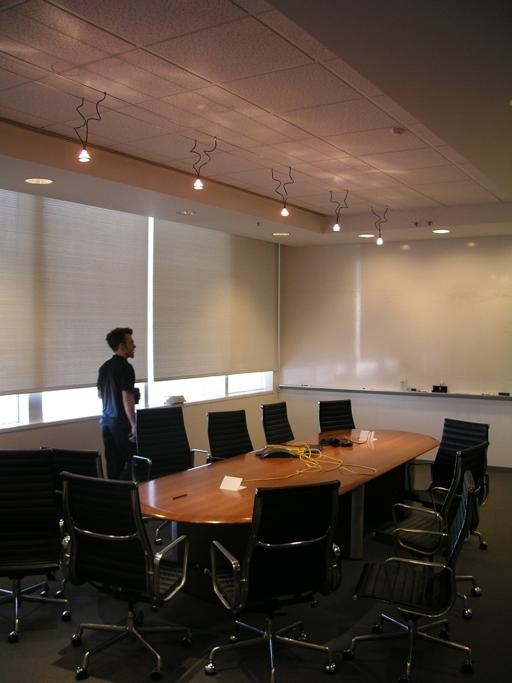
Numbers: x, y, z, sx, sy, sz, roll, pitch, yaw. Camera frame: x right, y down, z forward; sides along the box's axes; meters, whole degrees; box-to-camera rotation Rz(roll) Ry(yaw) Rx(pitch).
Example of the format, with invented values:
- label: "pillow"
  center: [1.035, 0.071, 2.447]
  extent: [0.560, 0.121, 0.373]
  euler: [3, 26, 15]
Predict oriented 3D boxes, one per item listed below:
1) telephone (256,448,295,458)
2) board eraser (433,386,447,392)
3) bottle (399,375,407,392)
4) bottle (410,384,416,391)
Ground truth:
- label: "telephone"
  center: [0.149, 0.911, 4.708]
  extent: [0.172, 0.044, 0.129]
  euler: [4, -4, 11]
- label: "board eraser"
  center: [2.461, 0.639, 7.708]
  extent: [0.189, 0.097, 0.128]
  euler: [1, 1, 15]
- label: "bottle"
  center: [2.050, 0.596, 7.997]
  extent: [0.101, 0.185, 0.176]
  euler: [1, 1, 13]
- label: "bottle"
  center: [2.177, 0.637, 7.964]
  extent: [0.066, 0.084, 0.092]
  euler: [2, 3, 33]
